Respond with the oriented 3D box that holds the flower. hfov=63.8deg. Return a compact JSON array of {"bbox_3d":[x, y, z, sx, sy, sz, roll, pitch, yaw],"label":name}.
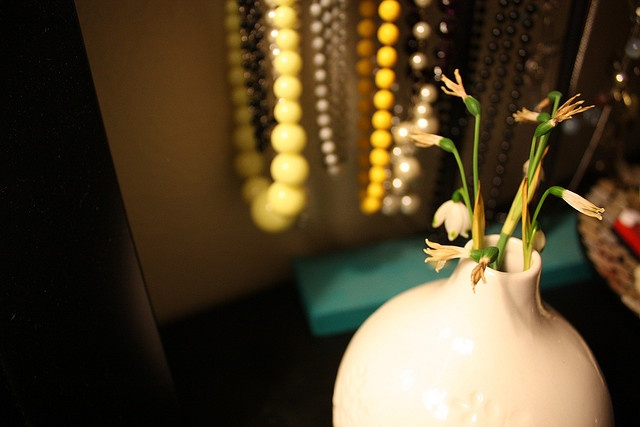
[{"bbox_3d":[0.204,-0.040,0.756,0.294,0.319,0.248,12,12,-1],"label":"flower"}]
